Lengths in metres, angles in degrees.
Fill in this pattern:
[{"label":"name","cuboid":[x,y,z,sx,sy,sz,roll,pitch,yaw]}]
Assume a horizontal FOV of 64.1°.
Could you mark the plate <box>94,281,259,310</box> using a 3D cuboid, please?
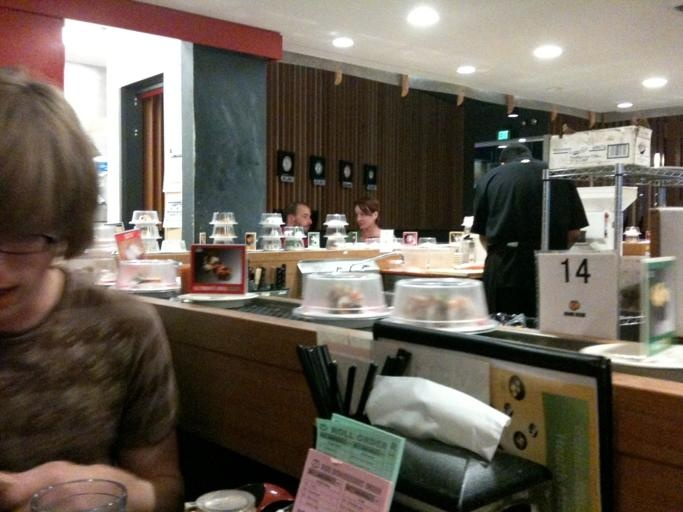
[{"label":"plate","cuboid":[-0.488,0.136,1.787,0.292,0.040,0.207,1,2,25]}]
